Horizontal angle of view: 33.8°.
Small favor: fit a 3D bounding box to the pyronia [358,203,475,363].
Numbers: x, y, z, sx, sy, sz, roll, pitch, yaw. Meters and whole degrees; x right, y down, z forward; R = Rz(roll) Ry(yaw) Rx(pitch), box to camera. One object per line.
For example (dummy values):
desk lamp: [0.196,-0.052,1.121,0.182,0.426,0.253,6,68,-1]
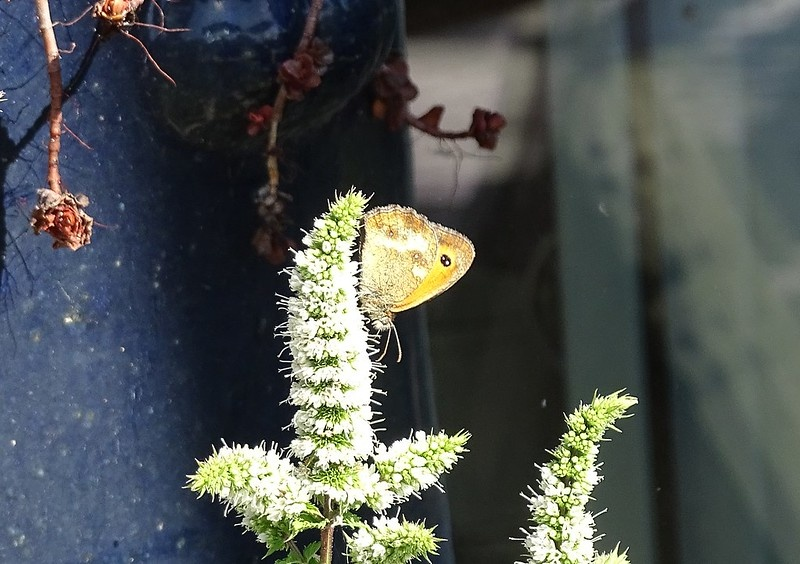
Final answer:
pyronia: [0.014,-0.007,2.813,0.279,0.193,0.302,22,90,7]
